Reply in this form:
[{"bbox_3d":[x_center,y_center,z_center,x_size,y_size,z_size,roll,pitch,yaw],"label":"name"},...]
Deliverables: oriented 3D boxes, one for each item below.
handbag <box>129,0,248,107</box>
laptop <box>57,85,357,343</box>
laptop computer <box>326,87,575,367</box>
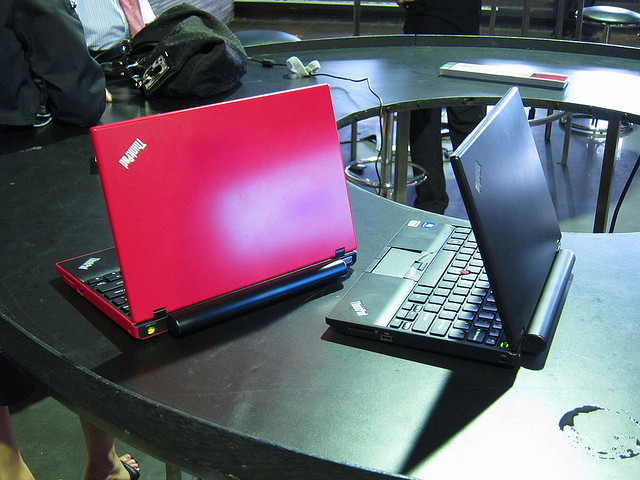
[{"bbox_3d":[-0.510,-0.638,1.752,0.463,0.206,0.339,23,54,37],"label":"handbag"},{"bbox_3d":[-0.209,-0.082,0.857,0.454,0.305,0.391,-15,26,-28],"label":"laptop"},{"bbox_3d":[0.216,-0.041,0.766,0.322,0.284,0.368,12,32,29],"label":"laptop computer"}]
